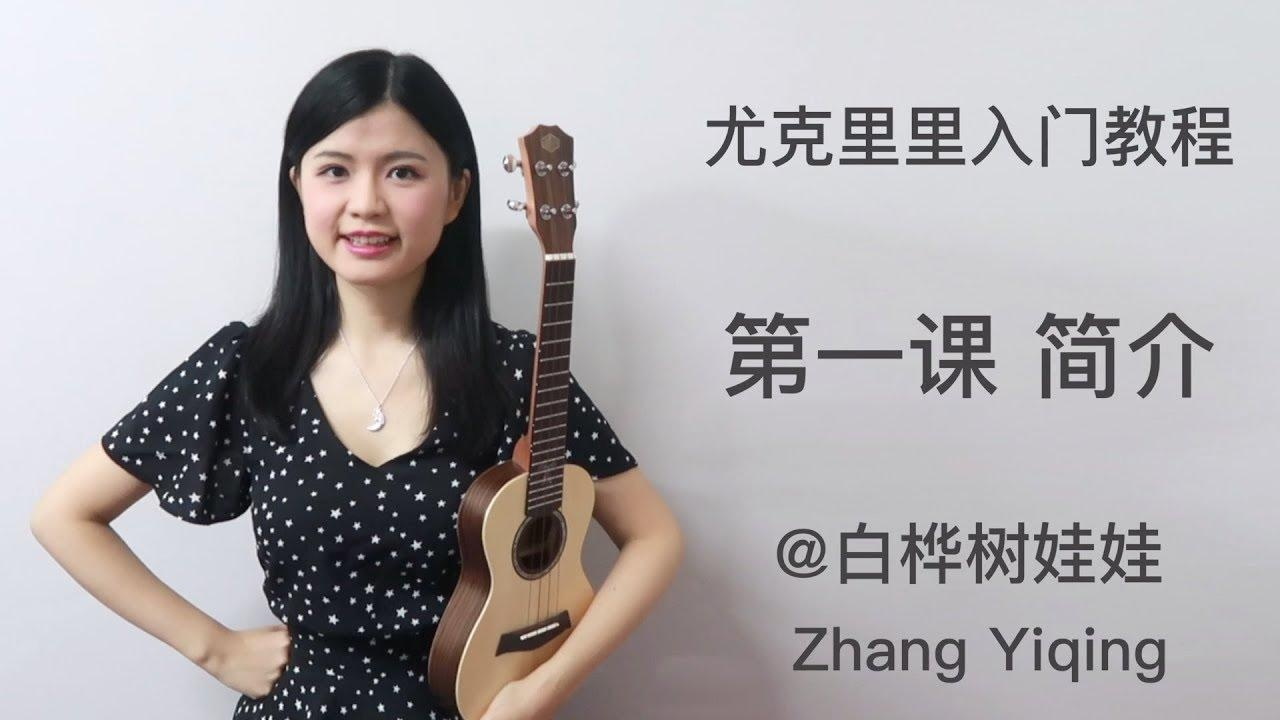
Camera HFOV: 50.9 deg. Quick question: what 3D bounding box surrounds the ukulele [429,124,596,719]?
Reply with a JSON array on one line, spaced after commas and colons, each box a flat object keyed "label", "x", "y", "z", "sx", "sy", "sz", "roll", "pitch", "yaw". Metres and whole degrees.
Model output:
[{"label": "ukulele", "x": -0.316, "y": 0.158, "z": 3.350, "sx": 0.405, "sy": 1.462, "sz": 0.188, "roll": -6, "pitch": 12, "yaw": -39}]
